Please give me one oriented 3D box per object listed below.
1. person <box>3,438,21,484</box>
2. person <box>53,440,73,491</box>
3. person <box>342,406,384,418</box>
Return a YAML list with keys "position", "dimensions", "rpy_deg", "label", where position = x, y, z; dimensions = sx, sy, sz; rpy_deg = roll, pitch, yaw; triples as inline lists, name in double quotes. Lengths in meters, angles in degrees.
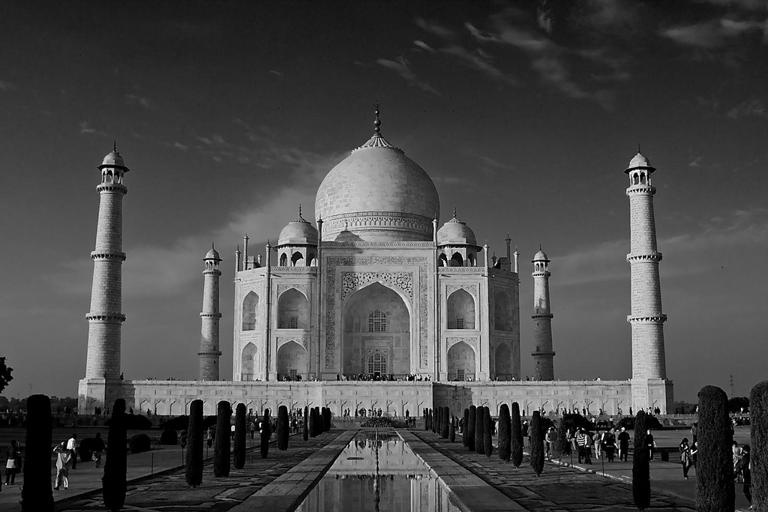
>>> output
- position: [-9.776, 5.415, 24.754]
  dimensions: [0.353, 1.127, 1.525]
  rpy_deg: [4, -12, -21]
  label: "person"
- position: [-8.033, 5.230, 23.460]
  dimensions: [0.370, 1.147, 0.905]
  rpy_deg: [3, -12, -19]
  label: "person"
- position: [-1.105, 7.443, 45.322]
  dimensions: [1.962, 0.503, 0.786]
  rpy_deg: [-1, -11, -1]
  label: "person"
